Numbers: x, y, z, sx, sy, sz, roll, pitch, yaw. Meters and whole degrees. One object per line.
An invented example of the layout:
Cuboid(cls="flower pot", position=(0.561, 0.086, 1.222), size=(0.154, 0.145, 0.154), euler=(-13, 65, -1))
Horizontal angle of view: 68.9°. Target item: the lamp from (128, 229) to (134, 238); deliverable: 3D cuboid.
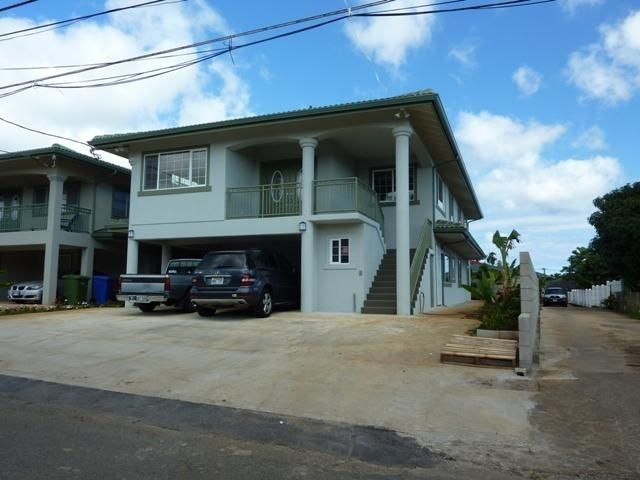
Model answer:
Cuboid(cls="lamp", position=(-7.557, -0.229, 18.750), size=(0.238, 0.379, 0.117), euler=(0, 0, 10))

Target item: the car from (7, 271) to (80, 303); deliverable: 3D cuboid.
Cuboid(cls="car", position=(-12.649, 2.239, 22.010), size=(1.415, 1.132, 3.372), euler=(-3, -9, 20))

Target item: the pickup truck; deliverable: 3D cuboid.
Cuboid(cls="pickup truck", position=(-5.115, 1.500, 15.111), size=(1.465, 1.184, 2.827), euler=(-1, -1, 19))

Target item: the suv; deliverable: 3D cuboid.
Cuboid(cls="suv", position=(-2.253, 1.268, 14.465), size=(1.593, 1.276, 3.616), euler=(-3, -4, 19))

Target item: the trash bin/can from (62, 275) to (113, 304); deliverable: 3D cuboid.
Cuboid(cls="trash bin/can", position=(-9.922, 2.150, 20.141), size=(1.359, 1.180, 1.942), euler=(-2, -9, 15))
